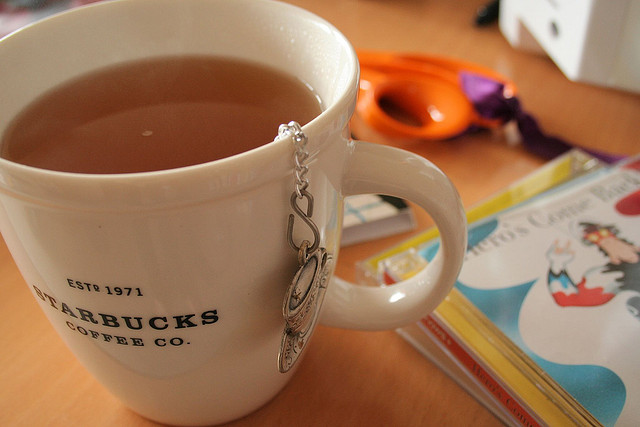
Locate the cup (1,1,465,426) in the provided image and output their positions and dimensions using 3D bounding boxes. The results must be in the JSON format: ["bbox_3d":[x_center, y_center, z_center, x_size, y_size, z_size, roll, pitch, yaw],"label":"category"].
[{"bbox_3d":[-0.105,0.010,0.558,0.425,0.319,0.348,8,41,6],"label":"cup"}]

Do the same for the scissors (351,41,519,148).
[{"bbox_3d":[0.148,-0.166,0.771,0.222,0.067,0.164,29,40,36],"label":"scissors"}]
